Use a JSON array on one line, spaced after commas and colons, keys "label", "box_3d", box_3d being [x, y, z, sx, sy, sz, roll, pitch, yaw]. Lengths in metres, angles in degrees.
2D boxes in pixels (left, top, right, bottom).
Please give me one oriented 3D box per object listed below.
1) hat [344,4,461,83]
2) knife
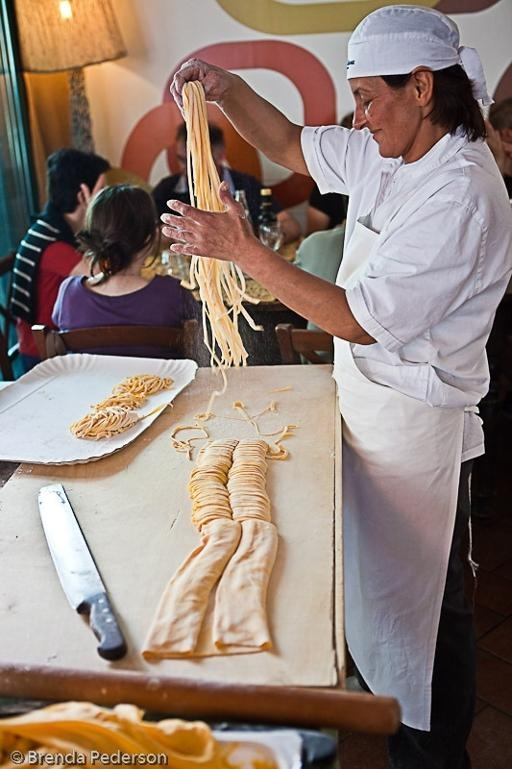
[{"label": "hat", "box_3d": [0.258, -0.610, 1.290, 0.206, 0.109, 0.126, 0, 44, 12]}, {"label": "knife", "box_3d": [-0.276, 0.262, 1.068, 0.056, 0.083, 0.463, -10, 14, -22]}]
